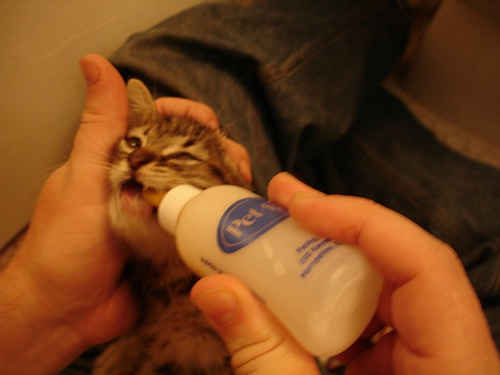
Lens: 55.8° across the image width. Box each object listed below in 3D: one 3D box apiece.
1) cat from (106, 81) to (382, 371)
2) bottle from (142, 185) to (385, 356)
[{"bbox_3d":[-0.019,0.088,1.257,0.695,0.393,0.715,-7,65,6],"label":"cat"},{"bbox_3d":[0.028,0.156,1.161,0.593,0.154,0.261,29,73,20],"label":"bottle"}]
